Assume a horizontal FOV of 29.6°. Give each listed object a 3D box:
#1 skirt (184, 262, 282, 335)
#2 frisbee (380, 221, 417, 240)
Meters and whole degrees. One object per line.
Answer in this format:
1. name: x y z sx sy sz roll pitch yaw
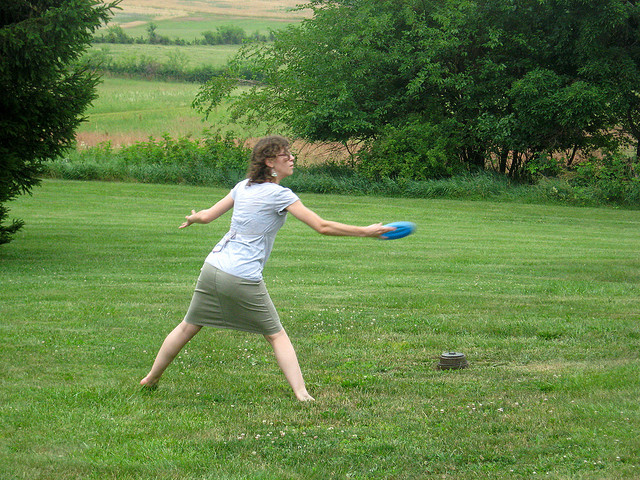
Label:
1. skirt: -1.646 1.109 25.131 2.342 1.330 1.292 6 11 36
2. frisbee: 1.631 -0.194 24.560 0.667 0.326 0.249 -1 6 -30
